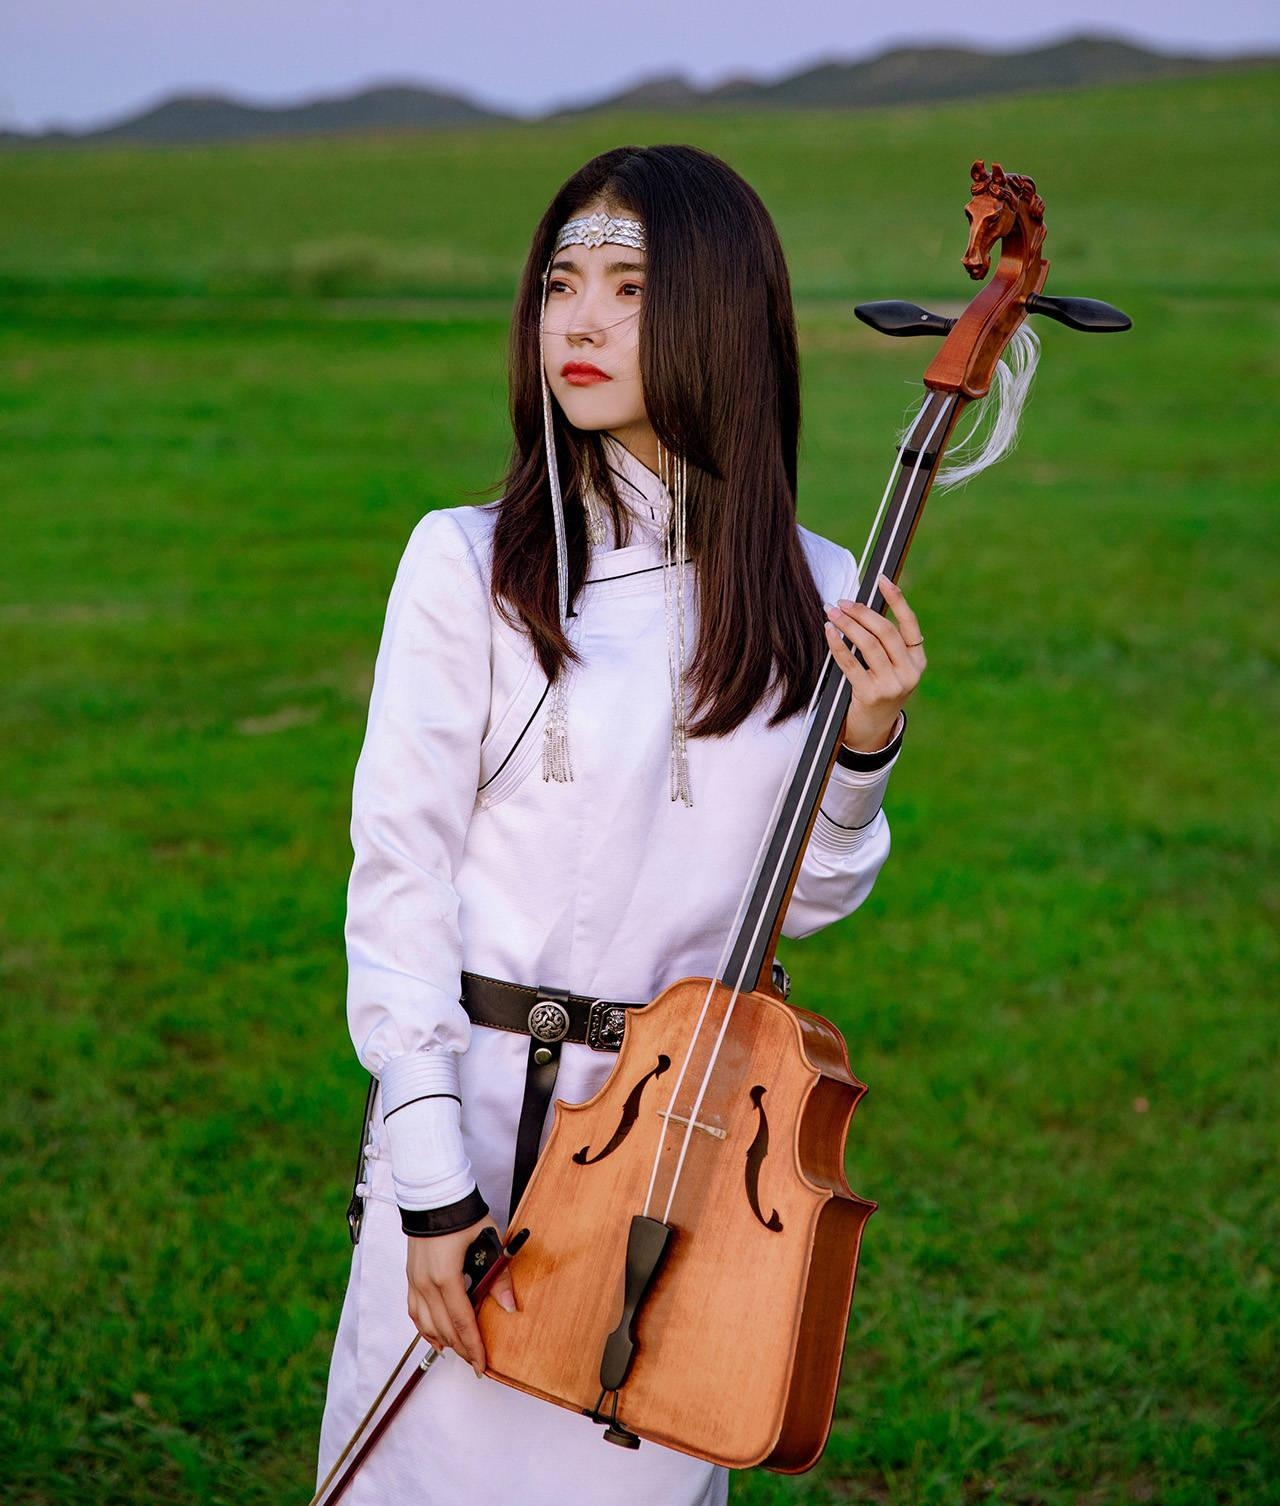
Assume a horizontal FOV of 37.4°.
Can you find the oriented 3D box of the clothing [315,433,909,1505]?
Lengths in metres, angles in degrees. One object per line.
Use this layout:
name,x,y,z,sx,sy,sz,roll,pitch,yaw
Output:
clothing,-0.094,0.315,2.706,0.870,1.323,0.468,7,-7,-2
